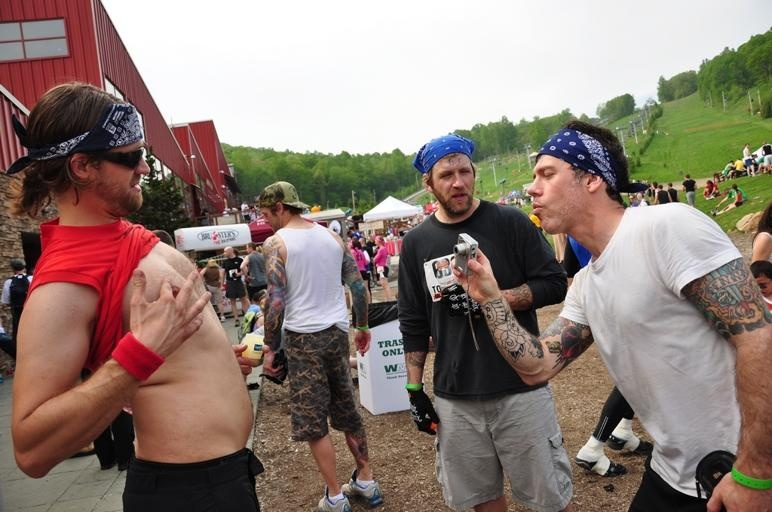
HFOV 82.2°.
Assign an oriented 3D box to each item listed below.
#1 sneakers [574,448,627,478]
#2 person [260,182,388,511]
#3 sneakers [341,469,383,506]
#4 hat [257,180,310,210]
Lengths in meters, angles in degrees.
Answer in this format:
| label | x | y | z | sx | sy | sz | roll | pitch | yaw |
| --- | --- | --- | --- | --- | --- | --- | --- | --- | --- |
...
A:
| label | x | y | z | sx | sy | sz | roll | pitch | yaw |
| --- | --- | --- | --- | --- | --- | --- | --- | --- | --- |
| sneakers | 1.982 | 1.933 | 4.132 | 0.373 | 0.182 | 0.209 | 1 | 6 | 11 |
| person | -0.653 | 0.833 | 3.992 | 0.799 | 2.995 | 0.869 | -10 | 9 | -27 |
| sneakers | -0.242 | 2.167 | 4.183 | 0.167 | 0.226 | 0.463 | -5 | 4 | -34 |
| hat | -0.960 | -0.569 | 4.237 | 0.434 | 0.237 | 0.285 | -1 | 10 | -5 |
